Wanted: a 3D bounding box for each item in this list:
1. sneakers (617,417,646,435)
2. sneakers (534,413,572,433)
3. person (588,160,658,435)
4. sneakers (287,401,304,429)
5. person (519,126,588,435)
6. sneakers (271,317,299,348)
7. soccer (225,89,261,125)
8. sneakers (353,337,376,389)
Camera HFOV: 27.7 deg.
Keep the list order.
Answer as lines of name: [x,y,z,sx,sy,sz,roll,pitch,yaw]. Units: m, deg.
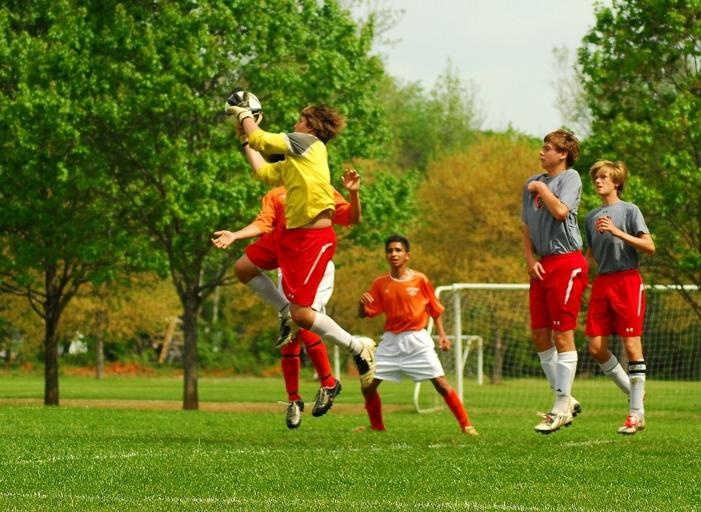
sneakers: [3.427,2.074,17.381,0.230,0.252,0.437,3,3,35]
sneakers: [2.460,2.015,17.297,0.603,0.244,0.228,0,3,-26]
person: [3.305,0.499,17.516,0.793,3.392,0.779,2,3,8]
sneakers: [-0.672,1.912,17.293,0.137,0.412,0.186,-19,-36,35]
person: [2.482,0.296,17.290,0.774,3.715,0.669,2,3,12]
sneakers: [-0.785,0.941,17.369,0.203,0.169,0.470,21,-43,-12]
soccer: [-1.335,-1.736,17.227,0.528,0.398,0.477,0,-19,-8]
sneakers: [0.142,1.306,17.641,0.225,0.611,0.280,6,32,29]
